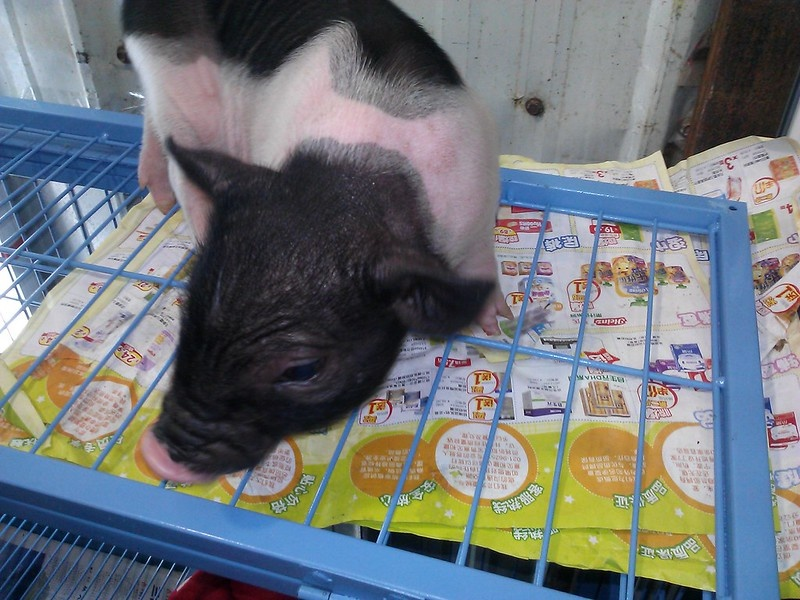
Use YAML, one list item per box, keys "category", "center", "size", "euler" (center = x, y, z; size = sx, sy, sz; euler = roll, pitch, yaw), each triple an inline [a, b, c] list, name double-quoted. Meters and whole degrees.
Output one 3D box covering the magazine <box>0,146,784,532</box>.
- category: "magazine"
  center: [0.020, 0.094, 1.164]
  size: [0.973, 0.019, 0.503]
  euler: [5, 46, 11]
